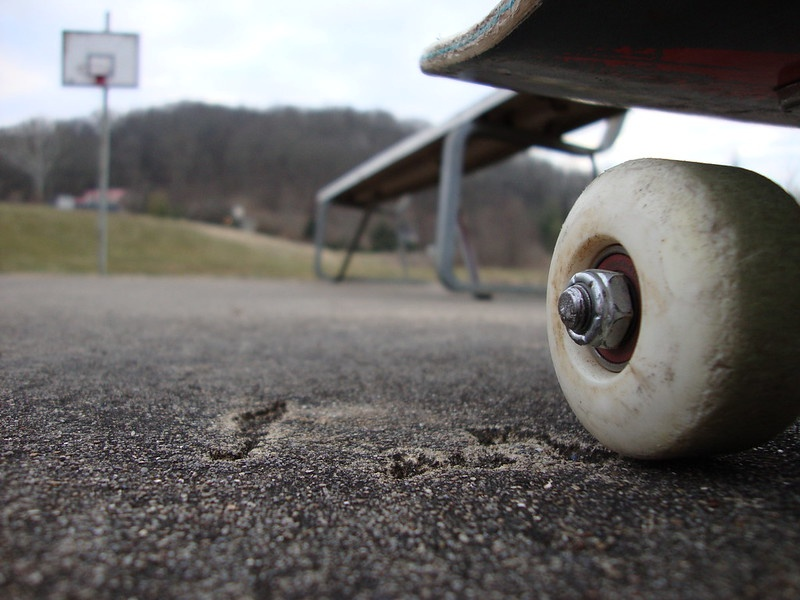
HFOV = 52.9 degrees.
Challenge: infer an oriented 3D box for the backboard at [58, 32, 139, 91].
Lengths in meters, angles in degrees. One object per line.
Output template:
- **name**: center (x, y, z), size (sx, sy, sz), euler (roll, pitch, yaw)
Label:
- **backboard**: center (-1.277, -1.062, 3.570), size (0.208, 0.271, 0.431), euler (6, 5, 15)
